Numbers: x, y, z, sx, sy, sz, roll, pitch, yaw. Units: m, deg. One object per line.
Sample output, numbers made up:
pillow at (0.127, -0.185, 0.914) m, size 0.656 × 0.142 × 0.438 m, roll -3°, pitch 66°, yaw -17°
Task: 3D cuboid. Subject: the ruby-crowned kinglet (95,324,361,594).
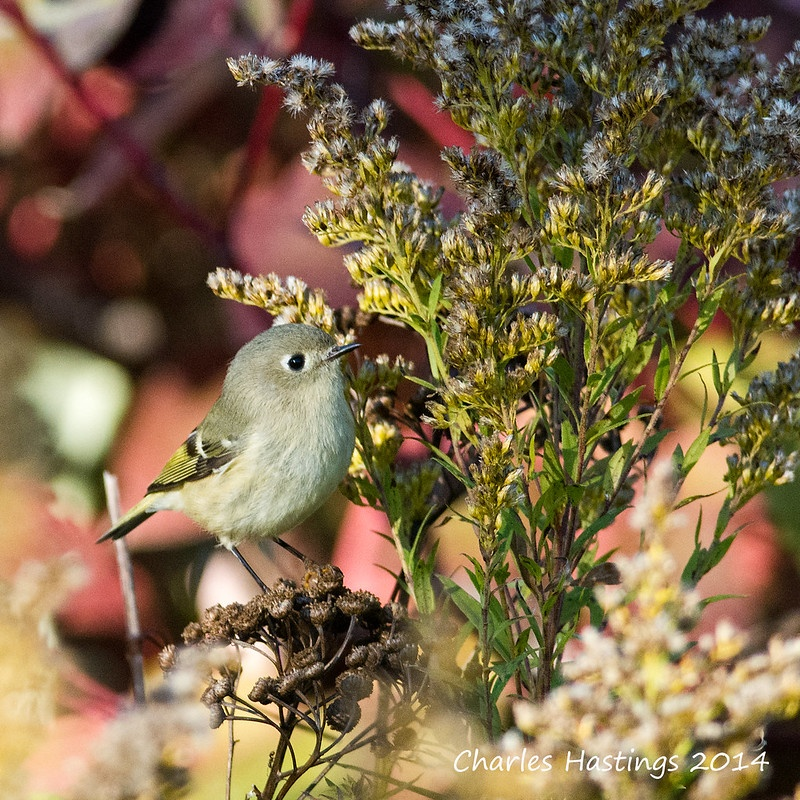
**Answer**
ruby-crowned kinglet at (-0.184, 0.055, 1.469) m, size 0.332 × 0.282 × 0.175 m, roll 1°, pitch 8°, yaw 32°
